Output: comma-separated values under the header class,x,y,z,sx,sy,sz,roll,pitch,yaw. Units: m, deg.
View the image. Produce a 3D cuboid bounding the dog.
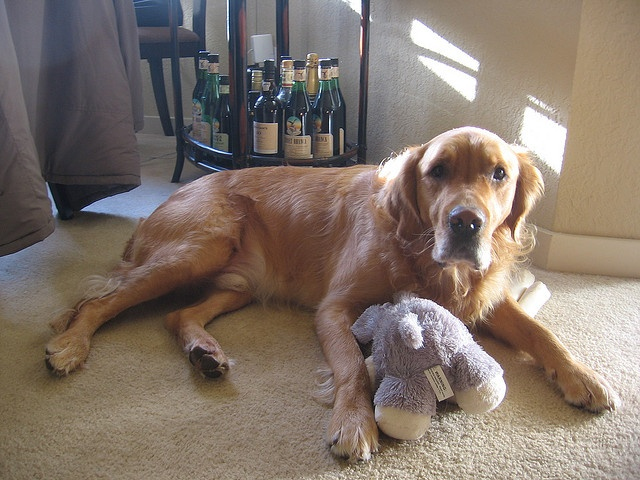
class,x,y,z,sx,sy,sz,roll,pitch,yaw
dog,-0.015,0.029,1.794,1.568,0.853,0.908,16,11,25
